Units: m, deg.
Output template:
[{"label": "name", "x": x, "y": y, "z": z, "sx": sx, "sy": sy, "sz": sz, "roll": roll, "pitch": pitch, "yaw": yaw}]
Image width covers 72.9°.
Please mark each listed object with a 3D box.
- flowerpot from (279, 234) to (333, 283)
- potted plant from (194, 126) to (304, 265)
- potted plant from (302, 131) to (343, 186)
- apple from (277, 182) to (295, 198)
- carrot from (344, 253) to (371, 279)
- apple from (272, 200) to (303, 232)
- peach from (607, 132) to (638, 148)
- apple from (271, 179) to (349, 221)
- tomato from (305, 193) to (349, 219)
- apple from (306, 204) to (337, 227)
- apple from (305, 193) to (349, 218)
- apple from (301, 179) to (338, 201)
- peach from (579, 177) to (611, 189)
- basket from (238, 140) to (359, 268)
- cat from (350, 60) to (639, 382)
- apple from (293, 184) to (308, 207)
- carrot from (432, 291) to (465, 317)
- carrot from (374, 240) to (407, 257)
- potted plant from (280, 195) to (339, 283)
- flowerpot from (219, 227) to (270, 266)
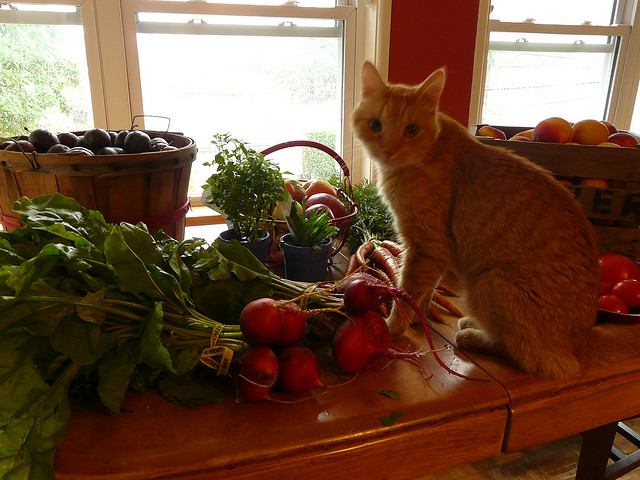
[{"label": "flowerpot", "x": -0.038, "y": 0.036, "z": 1.203, "sx": 0.126, "sy": 0.096, "sz": 0.125, "roll": -5, "pitch": 14, "yaw": -21}, {"label": "potted plant", "x": -0.217, "y": -0.076, "z": 1.170, "sx": 0.254, "sy": 0.402, "sz": 0.285, "roll": -6, "pitch": 9, "yaw": -43}, {"label": "potted plant", "x": -0.042, "y": -0.482, "z": 2.500, "sx": 0.206, "sy": 0.351, "sz": 0.231, "roll": -15, "pitch": 24, "yaw": -34}, {"label": "apple", "x": -0.103, "y": -0.156, "z": 1.350, "sx": 0.044, "sy": 0.032, "sz": 0.039, "roll": -9, "pitch": 18, "yaw": -28}, {"label": "carrot", "x": 0.092, "y": 0.066, "z": 1.124, "sx": 0.063, "sy": 0.064, "sz": 0.019, "roll": 15, "pitch": -9, "yaw": 22}, {"label": "apple", "x": -0.083, "y": -0.073, "z": 1.286, "sx": 0.084, "sy": 0.104, "sz": 0.088, "roll": -3, "pitch": 4, "yaw": 2}, {"label": "peach", "x": 0.898, "y": -0.299, "z": 1.289, "sx": 0.057, "sy": 0.038, "sz": 0.068, "roll": 0, "pitch": 14, "yaw": 0}, {"label": "apple", "x": -0.046, "y": -0.146, "z": 1.436, "sx": 0.168, "sy": 0.092, "sz": 0.135, "roll": 25, "pitch": 13, "yaw": 37}, {"label": "tomato", "x": 0.018, "y": -0.113, "z": 1.424, "sx": 0.106, "sy": 0.079, "sz": 0.084, "roll": 44, "pitch": 37, "yaw": 24}, {"label": "apple", "x": 0.003, "y": -0.091, "z": 1.292, "sx": 0.075, "sy": 0.091, "sz": 0.075, "roll": -7, "pitch": 16, "yaw": -7}, {"label": "apple", "x": 0.023, "y": -0.124, "z": 1.417, "sx": 0.108, "sy": 0.081, "sz": 0.085, "roll": 39, "pitch": 34, "yaw": 20}, {"label": "apple", "x": 0.003, "y": -0.175, "z": 1.501, "sx": 0.094, "sy": 0.071, "sz": 0.073, "roll": 7, "pitch": 3, "yaw": -14}, {"label": "peach", "x": 0.778, "y": -0.164, "z": 1.228, "sx": 0.041, "sy": 0.042, "sz": 0.048, "roll": 9, "pitch": -5, "yaw": -23}, {"label": "basket", "x": -0.023, "y": -0.152, "z": 1.392, "sx": 0.333, "sy": 0.360, "sz": 0.333, "roll": 15, "pitch": -11, "yaw": -31}, {"label": "cat", "x": 0.365, "y": -0.079, "z": 0.973, "sx": 0.675, "sy": 0.618, "sz": 0.250, "roll": 13, "pitch": 20, "yaw": 34}, {"label": "apple", "x": -0.066, "y": -0.149, "z": 1.393, "sx": 0.043, "sy": 0.057, "sz": 0.034, "roll": -4, "pitch": 4, "yaw": -2}, {"label": "carrot", "x": 0.323, "y": 0.163, "z": 1.096, "sx": 0.019, "sy": 0.018, "sz": 0.119, "roll": 8, "pitch": 25, "yaw": -31}, {"label": "carrot", "x": 0.204, "y": 0.019, "z": 1.265, "sx": 0.026, "sy": 0.027, "sz": 0.085, "roll": 14, "pitch": 15, "yaw": -35}, {"label": "potted plant", "x": -0.029, "y": -0.004, "z": 1.271, "sx": 0.205, "sy": 0.237, "sz": 0.178, "roll": 8, "pitch": 12, "yaw": 37}, {"label": "flowerpot", "x": -0.199, "y": -0.005, "z": 1.140, "sx": 0.107, "sy": 0.083, "sz": 0.107, "roll": -8, "pitch": 21, "yaw": -22}]
